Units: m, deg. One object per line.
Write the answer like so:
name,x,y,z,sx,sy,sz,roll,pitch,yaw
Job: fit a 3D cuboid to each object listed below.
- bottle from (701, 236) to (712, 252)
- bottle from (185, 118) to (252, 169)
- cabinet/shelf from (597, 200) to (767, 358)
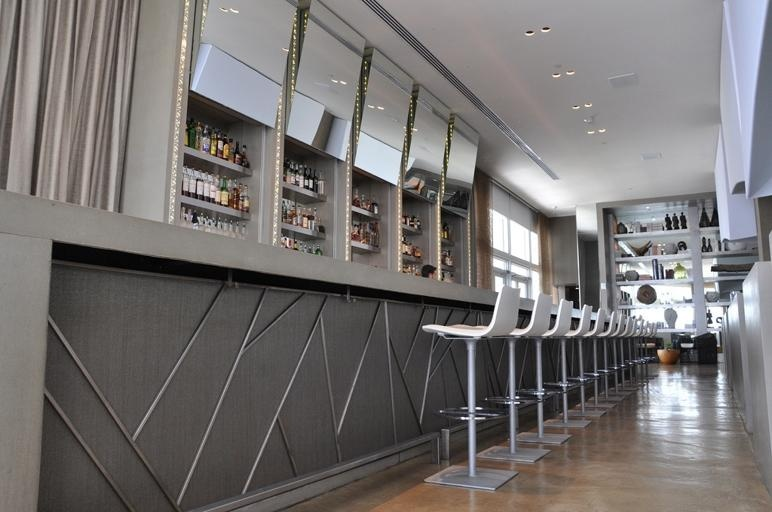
bottle,6.348,-0.224,11.048,0.194,0.304,0.154,-3,-7,20
bottle,-1.490,-0.992,4.929,0.228,0.395,0.579,-6,-9,40
cabinet/shelf,4.872,0.380,9.266,2.740,2.840,0.953,-3,-10,21
